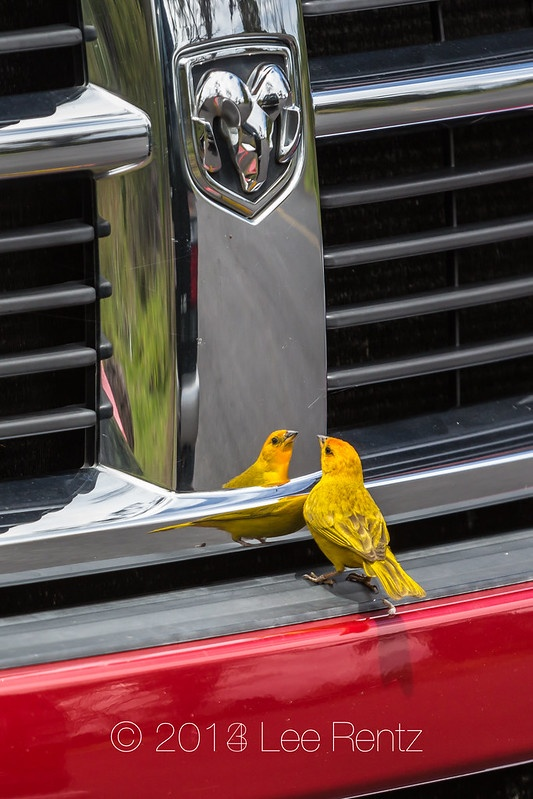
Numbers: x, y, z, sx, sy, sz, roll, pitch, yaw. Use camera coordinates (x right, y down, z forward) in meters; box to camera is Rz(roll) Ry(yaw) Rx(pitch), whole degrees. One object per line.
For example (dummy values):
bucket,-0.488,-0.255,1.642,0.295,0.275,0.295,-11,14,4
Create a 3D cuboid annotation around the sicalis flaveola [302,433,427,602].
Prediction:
sicalis flaveola,0.106,0.143,1.274,0.122,0.205,0.098,-19,-42,24
